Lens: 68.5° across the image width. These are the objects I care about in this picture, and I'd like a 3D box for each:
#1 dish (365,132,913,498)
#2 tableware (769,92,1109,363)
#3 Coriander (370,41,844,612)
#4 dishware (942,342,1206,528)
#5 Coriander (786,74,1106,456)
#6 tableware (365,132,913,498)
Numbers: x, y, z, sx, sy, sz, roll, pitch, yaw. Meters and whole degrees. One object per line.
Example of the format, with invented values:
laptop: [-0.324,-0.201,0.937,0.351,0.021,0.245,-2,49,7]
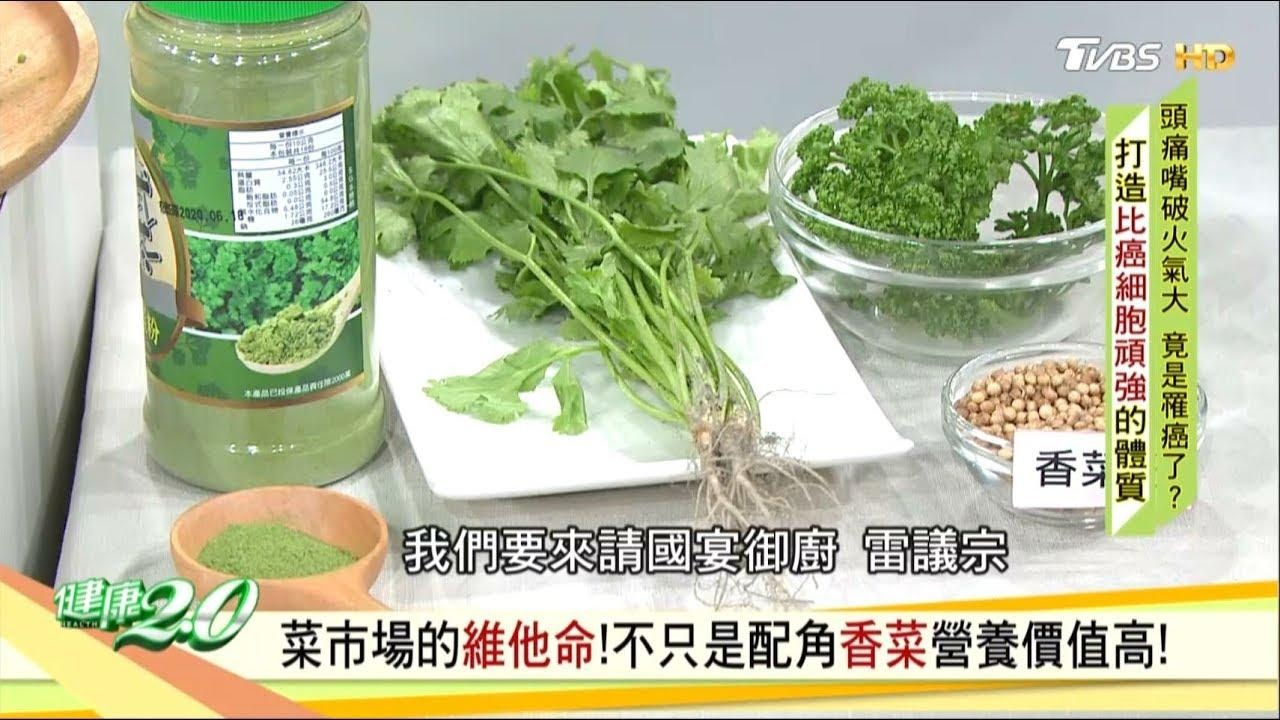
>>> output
dish: [-0.025,-0.009,1.053,0.532,0.146,0.383,-7,29,-5]
tableware: [0.332,-0.133,1.080,0.372,0.144,0.350,-4,36,-2]
Coriander: [-0.061,-0.113,1.083,0.459,0.154,0.675,-6,32,-20]
dishware: [0.408,0.045,0.948,0.231,0.095,0.219,-4,30,0]
Coriander: [0.373,-0.123,1.143,0.365,0.167,0.344,2,39,7]
tableware: [-0.025,-0.009,1.053,0.532,0.146,0.383,-7,29,-5]
